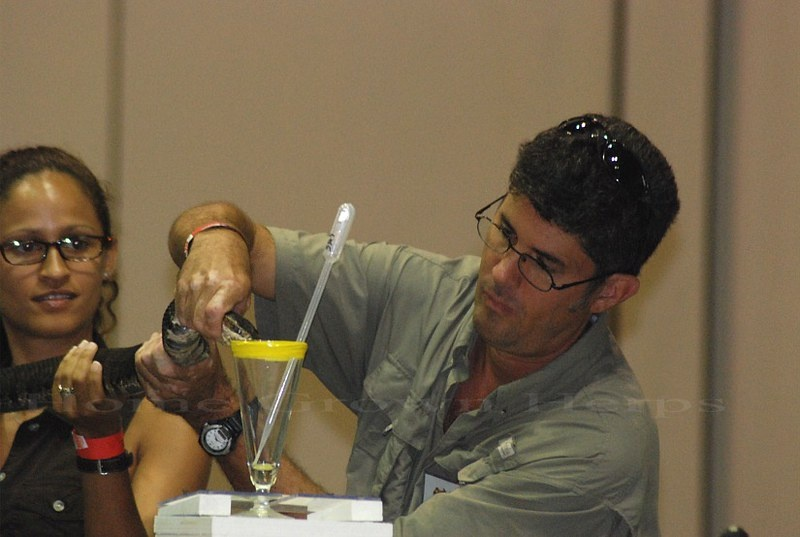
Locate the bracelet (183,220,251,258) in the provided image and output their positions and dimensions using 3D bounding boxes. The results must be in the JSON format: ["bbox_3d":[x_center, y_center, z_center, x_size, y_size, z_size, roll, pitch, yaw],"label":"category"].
[{"bbox_3d":[-0.514,-0.084,3.326,0.111,0.125,0.032,-11,19,-7],"label":"bracelet"}]

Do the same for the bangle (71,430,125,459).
[{"bbox_3d":[-0.793,0.455,3.203,0.076,0.044,0.082,-1,-2,15],"label":"bangle"}]

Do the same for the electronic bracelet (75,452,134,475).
[{"bbox_3d":[-0.780,0.509,3.203,0.141,0.052,0.056,2,-1,-15],"label":"electronic bracelet"}]

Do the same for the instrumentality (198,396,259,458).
[{"bbox_3d":[-0.450,0.408,3.188,0.086,0.144,0.133,39,-18,3],"label":"instrumentality"}]

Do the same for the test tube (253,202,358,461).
[{"bbox_3d":[-0.262,0.205,3.382,0.058,0.803,0.040,23,-16,-6],"label":"test tube"}]
